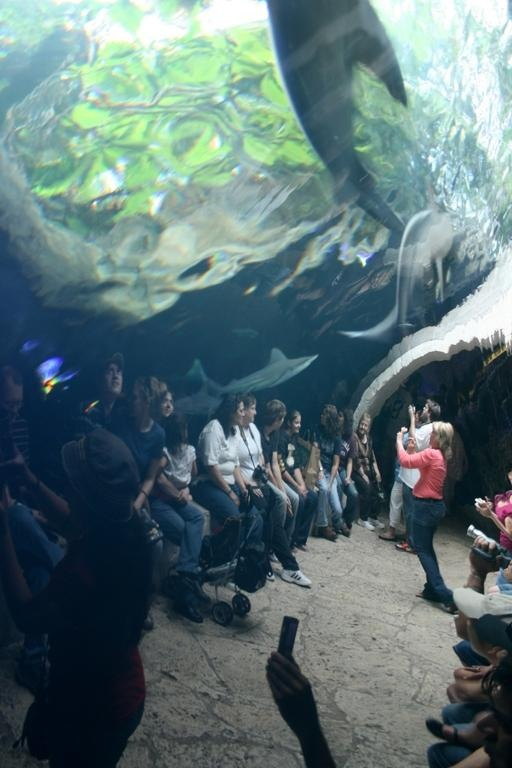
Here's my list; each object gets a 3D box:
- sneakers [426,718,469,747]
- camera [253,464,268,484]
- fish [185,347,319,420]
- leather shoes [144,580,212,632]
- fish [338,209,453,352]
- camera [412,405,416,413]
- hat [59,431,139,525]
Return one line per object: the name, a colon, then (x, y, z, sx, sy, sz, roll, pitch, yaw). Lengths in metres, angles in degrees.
sneakers: (1.272, 2.366, 3.447, 0.151, 0.137, 0.397, -1, -18, 29)
camera: (0.031, 0.805, 4.500, 0.116, 0.162, 0.061, 36, -48, -29)
fish: (-0.012, 0.028, 4.345, 1.305, 0.396, 0.381, -19, 36, -35)
leather shoes: (-0.539, 1.655, 3.981, 0.620, 0.264, 0.211, 30, 10, -14)
fish: (1.542, -1.117, 5.247, 1.279, 1.333, 0.254, -8, 17, -40)
camera: (1.594, 0.258, 5.151, 0.032, 0.065, 0.021, -2, -19, 13)
hat: (-1.149, 0.676, 3.676, 0.480, 0.640, 0.220, -20, 5, -43)
